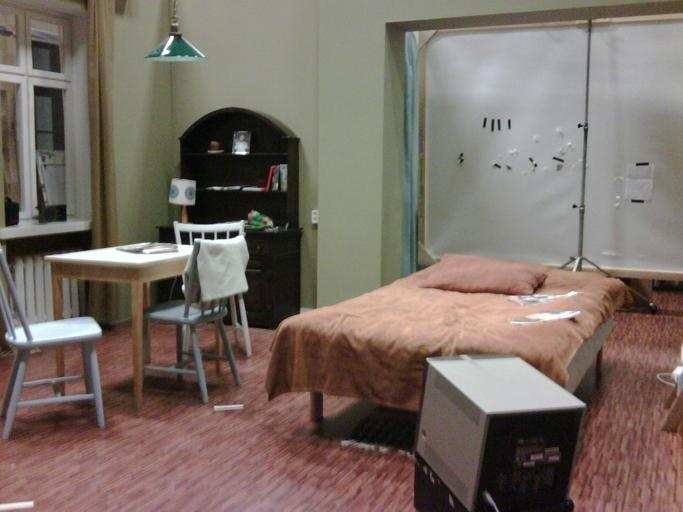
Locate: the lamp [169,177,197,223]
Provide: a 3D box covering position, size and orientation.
[{"bbox_3d":[-1.543,-0.509,5.314,0.238,0.474,0.244,-2,12,-36],"label":"lamp"}]

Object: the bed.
[{"bbox_3d":[0.734,0.445,3.384,1.505,0.599,2.035,8,13,34],"label":"bed"}]

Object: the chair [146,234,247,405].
[{"bbox_3d":[-0.987,0.378,3.602,0.625,1.044,0.616,8,8,35],"label":"chair"}]
